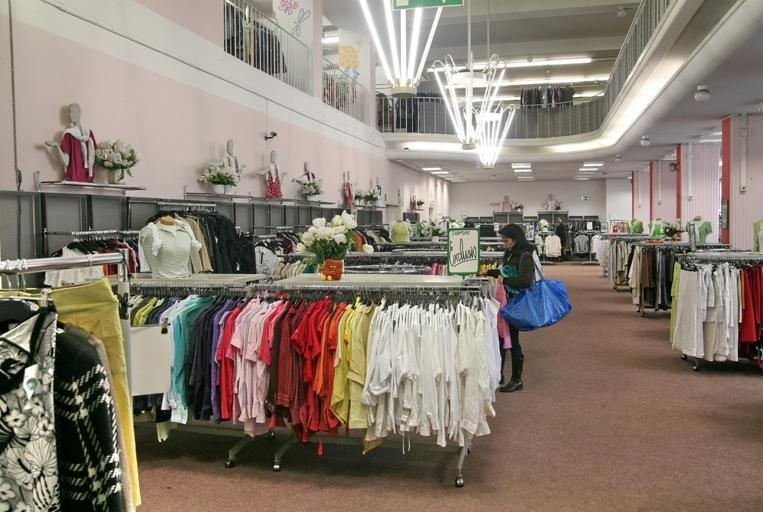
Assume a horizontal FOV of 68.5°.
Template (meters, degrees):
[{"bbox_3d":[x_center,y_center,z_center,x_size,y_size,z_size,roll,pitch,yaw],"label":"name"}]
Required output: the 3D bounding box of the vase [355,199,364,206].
[{"bbox_3d":[-0.669,-1.633,17.213,0.189,0.375,0.199,-1,9,14],"label":"vase"}]

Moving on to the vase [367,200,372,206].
[{"bbox_3d":[-0.379,-1.690,18.019,0.163,0.168,0.092,0,-6,-14],"label":"vase"}]

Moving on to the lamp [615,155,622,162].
[{"bbox_3d":[8.192,-3.347,19.336,0.213,0.182,0.233,1,7,38],"label":"lamp"}]

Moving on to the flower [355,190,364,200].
[{"bbox_3d":[-0.650,-1.845,17.128,0.197,0.273,0.453,0,8,9],"label":"flower"}]

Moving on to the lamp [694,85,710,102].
[{"bbox_3d":[5.611,-2.842,9.793,0.195,0.262,0.421,2,9,25],"label":"lamp"}]

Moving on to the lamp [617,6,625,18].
[{"bbox_3d":[7.459,-7.547,17.403,0.227,0.228,0.224,-3,6,31],"label":"lamp"}]

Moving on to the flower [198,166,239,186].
[{"bbox_3d":[-2.820,-1.384,9.735,0.367,0.232,0.379,0,0,33],"label":"flower"}]

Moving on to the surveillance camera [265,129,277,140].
[{"bbox_3d":[-2.350,-2.533,11.802,0.234,0.202,0.208,-18,-11,38],"label":"surveillance camera"}]

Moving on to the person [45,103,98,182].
[{"bbox_3d":[-4.025,-1.469,7.298,0.370,1.004,0.697,0,8,11],"label":"person"}]

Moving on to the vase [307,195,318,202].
[{"bbox_3d":[-1.639,-1.396,13.656,0.203,0.172,0.515,0,8,7],"label":"vase"}]

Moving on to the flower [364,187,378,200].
[{"bbox_3d":[-0.336,-1.854,17.847,0.426,0.221,0.453,10,34,-2],"label":"flower"}]

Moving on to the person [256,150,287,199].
[{"bbox_3d":[-2.291,-1.681,11.745,0.333,1.028,1.062,0,8,8],"label":"person"}]

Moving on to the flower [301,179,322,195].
[{"bbox_3d":[-1.672,-1.646,13.300,0.357,0.264,0.347,-22,30,-40],"label":"flower"}]

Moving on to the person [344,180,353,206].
[{"bbox_3d":[-0.935,-1.806,16.337,0.180,0.735,0.469,3,9,27],"label":"person"}]

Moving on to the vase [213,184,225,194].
[{"bbox_3d":[-2.841,-1.161,9.804,0.159,0.125,0.157,-3,-3,38],"label":"vase"}]

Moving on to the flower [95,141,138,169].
[{"bbox_3d":[-3.619,-1.358,7.639,0.390,0.368,0.405,1,-1,-6],"label":"flower"}]

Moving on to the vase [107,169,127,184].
[{"bbox_3d":[-3.693,-1.091,7.796,0.196,0.201,0.200,0,-5,-17],"label":"vase"}]

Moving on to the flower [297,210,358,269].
[{"bbox_3d":[-0.482,-0.170,5.821,0.490,0.507,0.556,-4,-1,20],"label":"flower"}]
